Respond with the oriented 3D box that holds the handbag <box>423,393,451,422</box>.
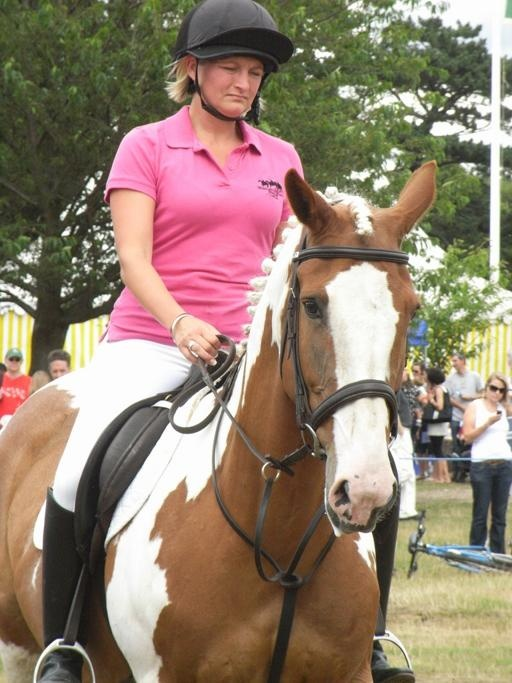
[{"bbox_3d":[2.090,0.795,12.177,0.392,0.363,0.264,2,-6,3],"label":"handbag"}]
